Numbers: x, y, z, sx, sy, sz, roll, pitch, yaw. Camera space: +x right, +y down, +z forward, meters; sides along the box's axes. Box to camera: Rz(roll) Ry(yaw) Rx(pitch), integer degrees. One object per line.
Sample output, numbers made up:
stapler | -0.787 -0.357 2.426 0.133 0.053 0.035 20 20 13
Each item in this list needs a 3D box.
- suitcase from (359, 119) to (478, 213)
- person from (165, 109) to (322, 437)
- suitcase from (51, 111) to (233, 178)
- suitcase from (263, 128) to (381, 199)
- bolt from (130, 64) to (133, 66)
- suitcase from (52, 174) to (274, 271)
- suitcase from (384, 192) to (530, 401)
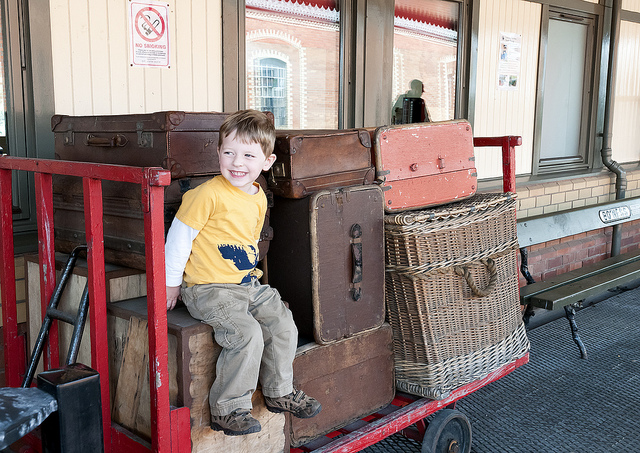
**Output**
suitcase | 0.804 -0.388 3.001 0.438 0.497 0.757 -8 5 -42
person | -0.324 0.236 2.110 0.658 1.459 0.555 -4 13 -18
suitcase | -0.918 -0.414 2.567 0.838 0.277 0.673 5 5 12
suitcase | -0.021 -0.339 2.634 0.533 0.285 0.409 -13 13 -33
bolt | -1.254 -1.085 3.228 0.026 0.017 0.006 -1 5 -9
suitcase | -0.947 -0.048 2.450 0.786 0.376 0.596 2 3 30
suitcase | 0.805 0.356 3.138 0.935 1.046 0.678 -19 16 -35
